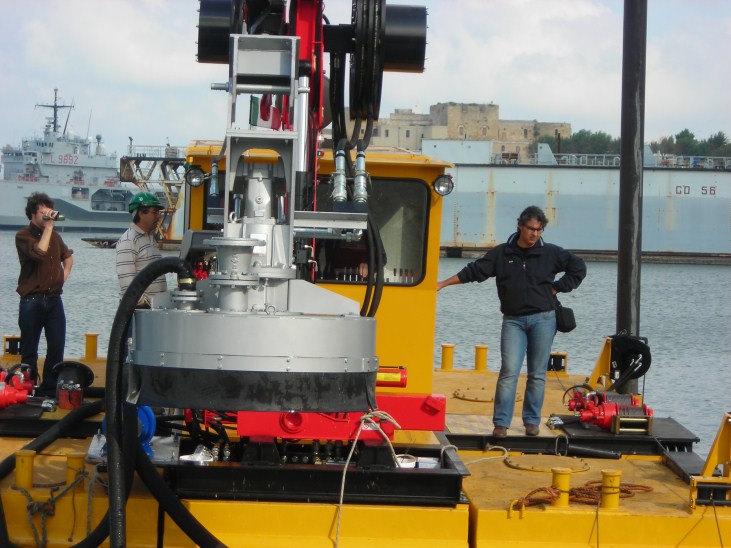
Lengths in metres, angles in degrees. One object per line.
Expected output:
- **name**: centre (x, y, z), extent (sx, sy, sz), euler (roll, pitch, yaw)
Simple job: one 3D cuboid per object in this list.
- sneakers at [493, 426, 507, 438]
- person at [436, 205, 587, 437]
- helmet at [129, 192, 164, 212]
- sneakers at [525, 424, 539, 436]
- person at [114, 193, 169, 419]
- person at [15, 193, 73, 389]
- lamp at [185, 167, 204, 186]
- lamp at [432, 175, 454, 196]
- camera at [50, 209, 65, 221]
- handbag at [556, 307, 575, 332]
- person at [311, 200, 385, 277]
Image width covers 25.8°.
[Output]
- **sneakers**: centre (1.461, 1.741, 17.446), extent (0.169, 0.121, 0.087), euler (1, 4, -6)
- **person**: centre (1.732, 0.504, 17.709), extent (1.329, 2.524, 0.834), euler (1, 4, 6)
- **helmet**: centre (-2.513, -0.838, 18.262), extent (0.314, 0.173, 0.235), euler (-2, 1, -15)
- **sneakers**: centre (1.825, 1.725, 17.525), extent (0.142, 0.118, 0.099), euler (1, 4, 4)
- **person**: centre (-2.538, -0.274, 18.074), extent (0.583, 1.316, 3.148), euler (1, 4, -8)
- **person**: centre (-3.716, 0.219, 18.404), extent (0.613, 2.322, 0.899), euler (0, 4, -11)
- **lamp**: centre (-1.815, -1.058, 17.077), extent (0.198, 0.209, 0.111), euler (1, 4, -8)
- **lamp**: centre (0.825, -0.948, 16.866), extent (0.179, 0.215, 0.083), euler (5, 7, 11)
- **camera**: centre (-3.576, -0.682, 18.430), extent (0.116, 0.081, 0.193), euler (0, 12, -39)
- **handbag**: centre (2.212, 0.509, 17.838), extent (0.137, 0.264, 0.245), euler (-9, -6, 16)
- **person**: centre (-0.215, -0.597, 16.799), extent (0.799, 0.642, 1.159), euler (1, -10, 1)
